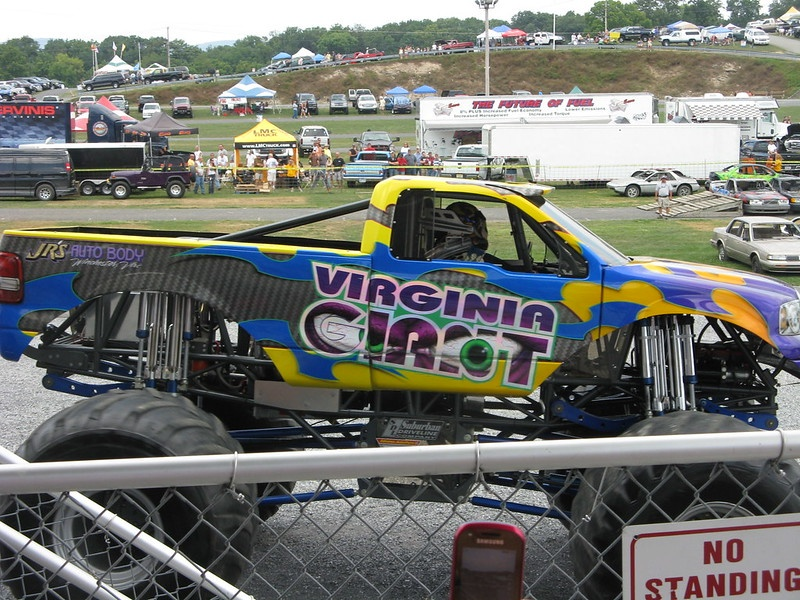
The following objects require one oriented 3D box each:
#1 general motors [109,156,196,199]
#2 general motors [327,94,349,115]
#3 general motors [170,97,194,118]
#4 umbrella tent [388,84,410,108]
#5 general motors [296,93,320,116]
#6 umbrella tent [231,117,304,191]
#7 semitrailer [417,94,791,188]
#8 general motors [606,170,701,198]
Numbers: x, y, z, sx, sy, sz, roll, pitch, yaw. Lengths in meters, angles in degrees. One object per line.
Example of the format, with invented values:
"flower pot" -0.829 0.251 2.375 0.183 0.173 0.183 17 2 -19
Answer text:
"general motors" -8.791 -4.177 29.602 3.284 1.017 1.387 1 5 -5
"general motors" -4.724 -14.838 66.131 1.373 0.788 2.145 -1 3 -5
"general motors" -15.693 -13.605 61.856 1.577 0.863 2.388 -2 3 -15
"umbrella tent" -0.043 -15.248 66.174 1.733 1.200 3.130 2 14 -2
"general motors" -6.632 -14.383 63.240 2.103 1.164 2.999 -4 6 -16
"umbrella tent" -5.024 -5.112 31.905 4.251 2.350 3.219 -1 13 -6
"semitrailer" 9.603 -6.516 33.849 15.496 2.514 5.693 -1 12 -4
"general motors" 8.894 -3.985 30.223 3.432 0.631 1.369 0 6 -4
